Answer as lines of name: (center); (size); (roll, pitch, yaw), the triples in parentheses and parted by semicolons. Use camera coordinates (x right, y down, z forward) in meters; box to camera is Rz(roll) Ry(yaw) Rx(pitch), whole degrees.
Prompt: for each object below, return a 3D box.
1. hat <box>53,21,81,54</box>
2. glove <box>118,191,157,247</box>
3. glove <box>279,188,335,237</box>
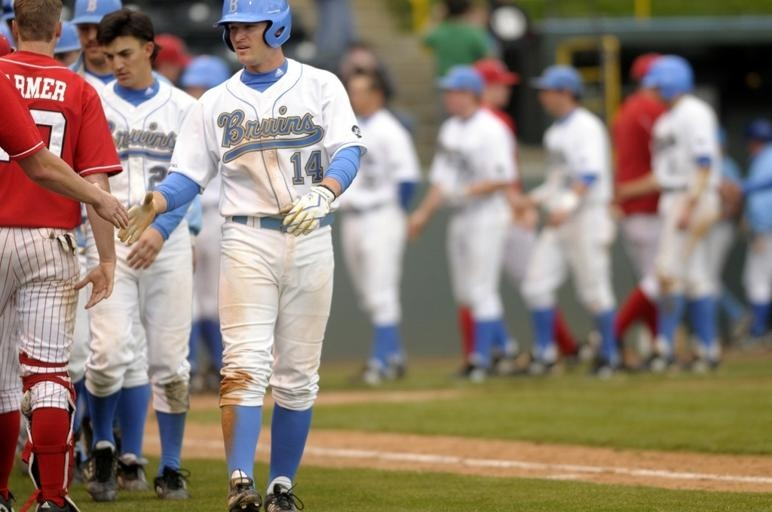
hat: (-2.217, -1.510, 9.936); (0.242, 0.164, 0.308); (-1, 12, -3)
glove: (-1.509, -0.209, 8.628); (0.215, 0.306, 0.093); (37, -23, 5)
glove: (-0.457, -0.253, 8.332); (0.193, 0.356, 0.104); (36, -6, 5)
